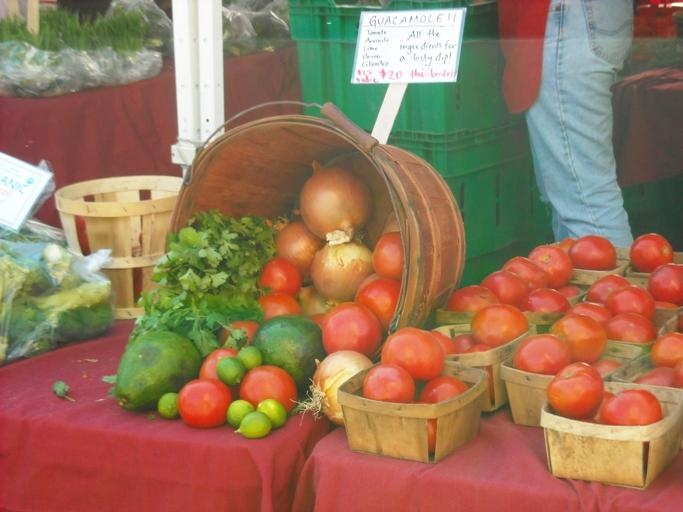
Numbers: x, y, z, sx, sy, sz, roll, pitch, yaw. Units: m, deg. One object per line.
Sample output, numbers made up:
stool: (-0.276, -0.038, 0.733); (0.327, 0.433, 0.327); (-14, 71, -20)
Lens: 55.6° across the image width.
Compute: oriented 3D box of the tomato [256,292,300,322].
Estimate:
tomato: (-0.202, 0.158, 2.103); (0.103, 0.100, 0.094); (-10, 3, 20)

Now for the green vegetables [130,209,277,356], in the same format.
green vegetables: (-0.425, 0.061, 2.124); (0.356, 0.498, 0.382); (-16, 22, -38)

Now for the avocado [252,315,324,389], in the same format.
avocado: (-0.152, 0.224, 1.957); (0.198, 0.200, 0.308); (-9, 18, -22)

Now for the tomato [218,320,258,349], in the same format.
tomato: (-0.322, 0.219, 1.988); (0.075, 0.083, 0.079); (8, 22, 26)

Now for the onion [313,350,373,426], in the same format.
onion: (-0.011, 0.325, 1.740); (0.189, 0.190, 0.150); (-15, 22, -41)

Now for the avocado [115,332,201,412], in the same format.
avocado: (-0.516, 0.302, 1.832); (0.178, 0.229, 0.256); (5, 20, 22)

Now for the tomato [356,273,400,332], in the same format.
tomato: (0.129, 0.137, 2.016); (0.122, 0.141, 0.122); (-5, 14, -19)

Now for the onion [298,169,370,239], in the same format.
onion: (-0.030, -0.190, 2.264); (0.197, 0.248, 0.230); (-24, 11, -19)

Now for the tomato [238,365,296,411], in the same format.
tomato: (-0.208, 0.384, 1.821); (0.128, 0.156, 0.145); (-5, -17, -21)

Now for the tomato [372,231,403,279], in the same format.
tomato: (0.149, -0.001, 2.078); (0.093, 0.129, 0.104); (0, 20, 1)

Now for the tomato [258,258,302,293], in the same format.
tomato: (-0.215, 0.063, 2.255); (0.137, 0.152, 0.127); (-6, 10, -39)

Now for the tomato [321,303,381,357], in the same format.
tomato: (0.033, 0.184, 1.904); (0.149, 0.154, 0.197); (15, 25, 42)

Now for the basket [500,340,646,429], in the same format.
basket: (0.618, 0.351, 1.737); (0.316, 0.178, 0.220); (-9, 12, -32)

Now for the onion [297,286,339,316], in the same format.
onion: (-0.084, 0.131, 2.213); (0.089, 0.104, 0.087); (6, 23, 38)

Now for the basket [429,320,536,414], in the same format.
basket: (0.414, 0.258, 1.854); (0.216, 0.234, 0.285); (-6, 16, -18)

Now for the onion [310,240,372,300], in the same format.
onion: (0.003, 0.052, 2.180); (0.207, 0.188, 0.087); (-2, 19, -3)

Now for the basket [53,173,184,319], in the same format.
basket: (-0.927, -0.095, 2.816); (0.563, 0.581, 0.650); (2, 16, 8)

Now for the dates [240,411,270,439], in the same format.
dates: (-0.223, 0.426, 1.670); (0.068, 0.059, 0.054); (-3, 3, -20)
